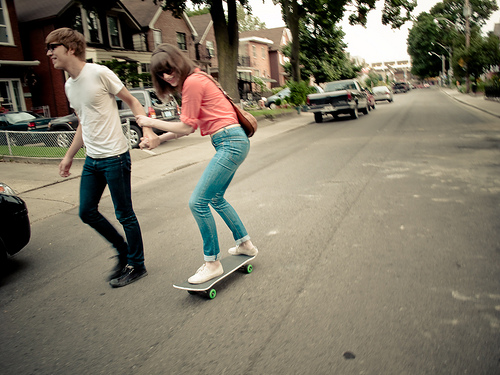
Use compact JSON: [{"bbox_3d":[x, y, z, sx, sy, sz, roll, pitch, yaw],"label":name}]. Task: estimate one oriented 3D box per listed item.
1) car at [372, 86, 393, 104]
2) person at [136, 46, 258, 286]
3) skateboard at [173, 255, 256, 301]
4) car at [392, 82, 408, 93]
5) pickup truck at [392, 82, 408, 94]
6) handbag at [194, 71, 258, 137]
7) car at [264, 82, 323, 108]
[{"bbox_3d":[13.237,-9.144,33.840,1.396,1.205,3.208,-2,18,21],"label":"car"},{"bbox_3d":[-0.432,-0.225,3.315,0.962,2.212,0.583,-8,14,-17],"label":"person"},{"bbox_3d":[-0.307,0.884,3.460,0.294,0.192,1.106,6,17,33],"label":"skateboard"},{"bbox_3d":[29.449,-19.367,66.532,2.328,1.844,4.425,3,17,26],"label":"car"},{"bbox_3d":[29.304,-19.288,66.279,1.747,1.548,3.046,5,25,37],"label":"pickup truck"},{"bbox_3d":[-0.243,-0.738,3.519,0.231,0.720,0.455,-37,11,23],"label":"handbag"},{"bbox_3d":[4.111,-8.004,30.570,5.006,1.852,2.434,-7,16,-10],"label":"car"}]
